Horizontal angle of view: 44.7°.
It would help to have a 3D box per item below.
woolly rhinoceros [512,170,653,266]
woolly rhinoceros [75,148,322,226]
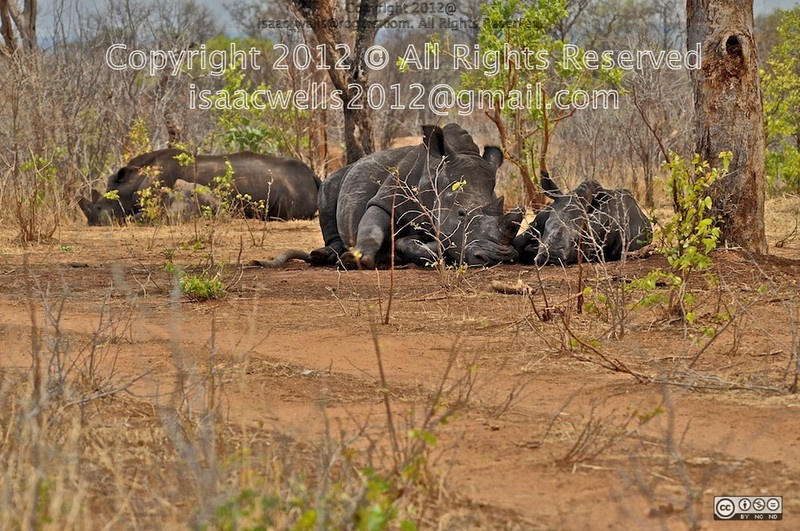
[{"bbox_3d":[1.960,-0.456,10.606,1.480,1.053,3.179,0,9,14],"label":"woolly rhinoceros"},{"bbox_3d":[-3.439,-1.397,17.586,4.133,1.469,1.892,-4,9,-14],"label":"woolly rhinoceros"}]
